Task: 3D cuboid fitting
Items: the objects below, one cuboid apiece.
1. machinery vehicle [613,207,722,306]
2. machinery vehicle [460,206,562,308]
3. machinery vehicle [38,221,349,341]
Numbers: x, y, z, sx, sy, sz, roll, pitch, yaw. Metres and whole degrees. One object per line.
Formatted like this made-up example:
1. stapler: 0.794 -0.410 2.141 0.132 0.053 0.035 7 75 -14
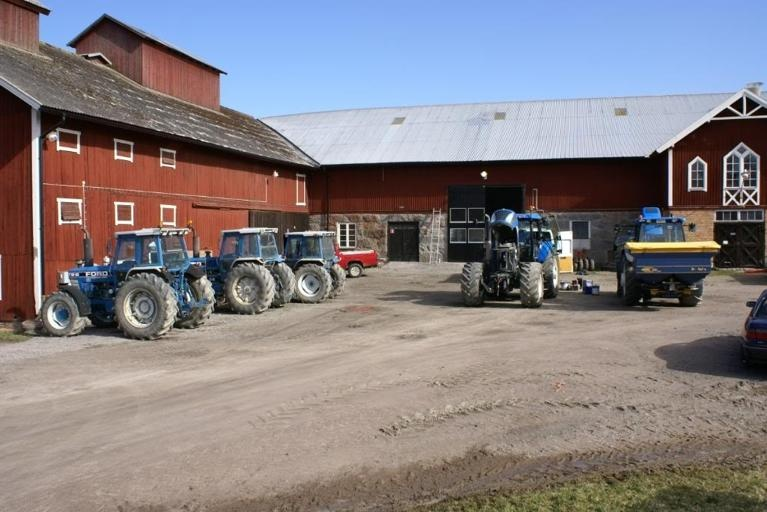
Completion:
1. machinery vehicle: 8.332 -0.062 20.851 2.311 2.770 6.056 -2 4 10
2. machinery vehicle: 4.161 0.050 21.072 2.168 2.317 4.008 -1 -4 19
3. machinery vehicle: -5.864 0.762 17.446 5.275 1.802 3.384 0 5 13
